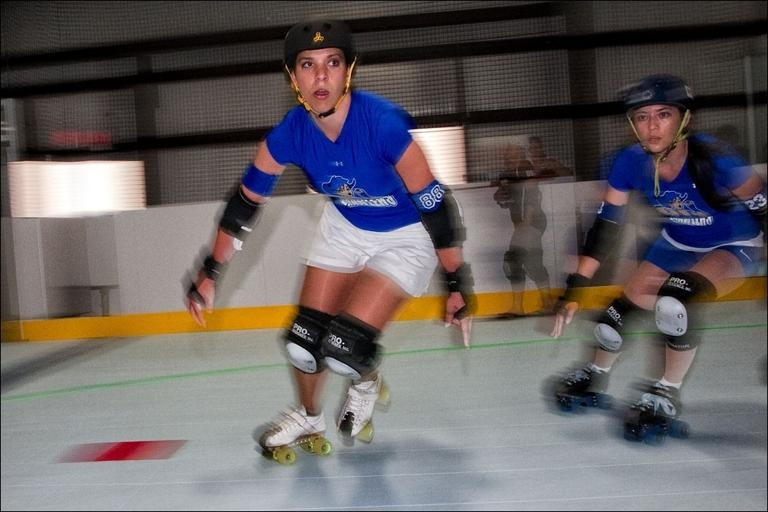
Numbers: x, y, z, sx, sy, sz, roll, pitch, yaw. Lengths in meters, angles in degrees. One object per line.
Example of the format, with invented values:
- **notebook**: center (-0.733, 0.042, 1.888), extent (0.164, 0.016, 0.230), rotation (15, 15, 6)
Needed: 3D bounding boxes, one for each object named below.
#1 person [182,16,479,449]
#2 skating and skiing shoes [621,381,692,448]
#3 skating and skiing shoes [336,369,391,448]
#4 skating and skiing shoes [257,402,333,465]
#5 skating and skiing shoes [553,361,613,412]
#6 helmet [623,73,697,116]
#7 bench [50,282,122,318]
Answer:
- **person**: center (-0.252, -0.286, 3.489), extent (1.322, 1.805, 0.493), rotation (0, 8, 21)
- **skating and skiing shoes**: center (1.460, 0.832, 3.611), extent (0.337, 0.260, 0.276), rotation (-1, 7, 9)
- **skating and skiing shoes**: center (-0.118, 0.786, 3.618), extent (0.201, 0.247, 0.402), rotation (13, 47, 21)
- **skating and skiing shoes**: center (-0.469, 0.921, 3.513), extent (0.341, 0.205, 0.259), rotation (1, -2, -27)
- **skating and skiing shoes**: center (1.238, 0.800, 4.018), extent (0.272, 0.247, 0.271), rotation (-6, 1, 11)
- **helmet**: center (1.528, -0.911, 3.762), extent (0.346, 0.222, 0.506), rotation (-2, 12, 44)
- **bench**: center (-3.414, 0.511, 7.688), extent (0.728, 0.357, 0.212), rotation (0, 8, 21)
